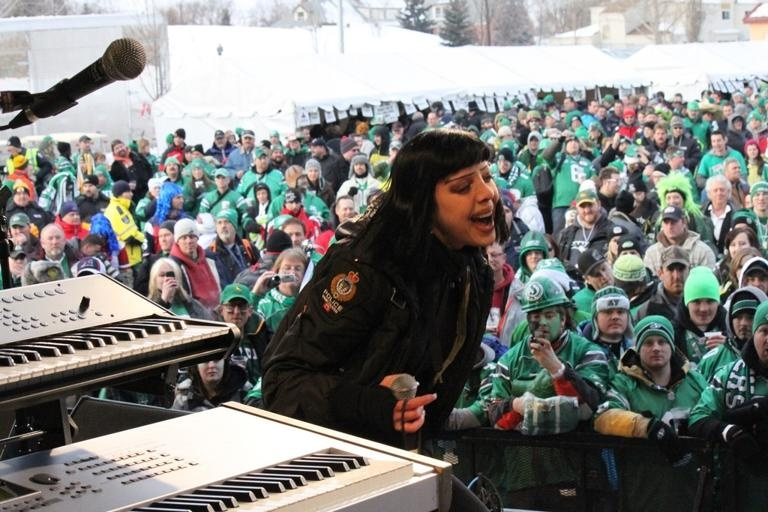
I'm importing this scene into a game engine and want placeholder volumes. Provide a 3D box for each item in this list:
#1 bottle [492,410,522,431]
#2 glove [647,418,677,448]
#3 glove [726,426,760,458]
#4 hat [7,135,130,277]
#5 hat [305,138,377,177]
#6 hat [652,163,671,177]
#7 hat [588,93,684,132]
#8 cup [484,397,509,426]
[{"bbox_3d":[0.871,1.147,8.098,0.125,0.086,0.066,-23,18,7],"label":"bottle"},{"bbox_3d":[1.869,1.184,7.761,0.182,0.062,0.133,25,0,15],"label":"glove"},{"bbox_3d":[2.365,1.217,7.619,0.158,0.206,0.071,-37,-10,13],"label":"glove"},{"bbox_3d":[-2.679,-0.395,10.413,1.085,1.310,0.486,-5,-7,-6],"label":"hat"},{"bbox_3d":[-0.370,-0.921,10.319,0.473,0.335,0.357,-24,7,12],"label":"hat"},{"bbox_3d":[2.090,-0.629,8.659,0.117,0.083,0.084,-3,24,-39],"label":"hat"},{"bbox_3d":[1.963,-1.153,9.222,0.426,0.187,0.485,-8,7,-37],"label":"hat"},{"bbox_3d":[0.796,1.100,8.140,0.193,0.170,0.112,-10,-9,41],"label":"cup"}]
